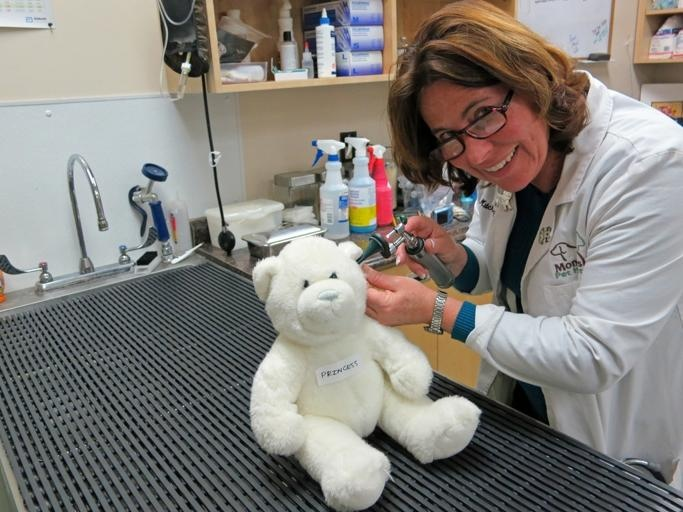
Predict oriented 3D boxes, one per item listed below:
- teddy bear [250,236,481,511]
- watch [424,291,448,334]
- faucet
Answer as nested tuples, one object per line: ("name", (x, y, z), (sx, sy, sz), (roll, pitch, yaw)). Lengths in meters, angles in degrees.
("teddy bear", (0.049, 0.204, 1.115), (0.477, 0.562, 0.459), (-26, 19, -22))
("watch", (0.205, 0.138, 1.154), (0.063, 0.088, 0.092), (2, -7, 4))
("faucet", (-0.932, -0.150, 1.773), (0.133, 0.439, 0.244), (-13, 22, -25))
